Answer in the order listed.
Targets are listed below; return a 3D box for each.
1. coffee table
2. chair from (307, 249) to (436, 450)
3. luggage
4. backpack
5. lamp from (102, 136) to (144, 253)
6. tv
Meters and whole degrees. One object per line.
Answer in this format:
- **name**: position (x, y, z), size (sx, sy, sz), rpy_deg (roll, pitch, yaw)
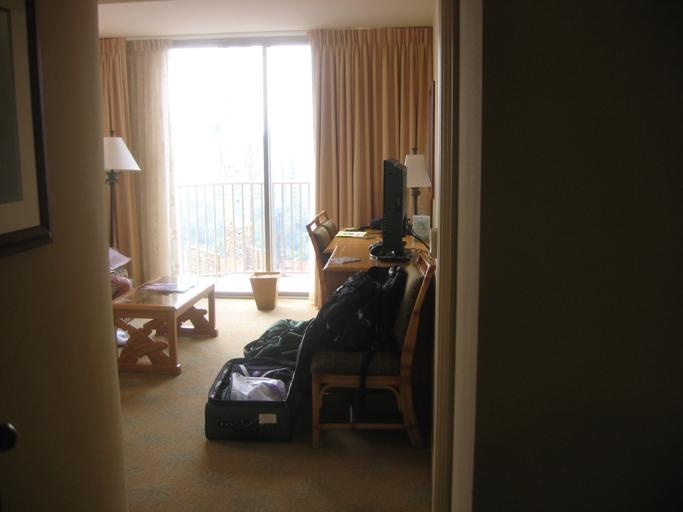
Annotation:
- **coffee table**: position (-1.256, 0.480, 3.993), size (0.527, 0.505, 0.784), rpy_deg (1, 12, 5)
- **chair**: position (0.154, 0.438, 3.249), size (0.749, 1.240, 0.737), rpy_deg (1, 4, 2)
- **luggage**: position (-0.436, 0.685, 3.265), size (0.483, 0.330, 0.912), rpy_deg (3, 13, 7)
- **backpack**: position (0.084, 0.231, 2.835), size (0.341, 0.498, 0.201), rpy_deg (-2, -28, 29)
- **lamp**: position (-1.874, -0.505, 4.916), size (0.281, 1.053, 1.013), rpy_deg (-4, 12, -23)
- **tv**: position (0.312, -0.301, 3.573), size (0.262, 0.595, 0.443), rpy_deg (1, 11, 3)
